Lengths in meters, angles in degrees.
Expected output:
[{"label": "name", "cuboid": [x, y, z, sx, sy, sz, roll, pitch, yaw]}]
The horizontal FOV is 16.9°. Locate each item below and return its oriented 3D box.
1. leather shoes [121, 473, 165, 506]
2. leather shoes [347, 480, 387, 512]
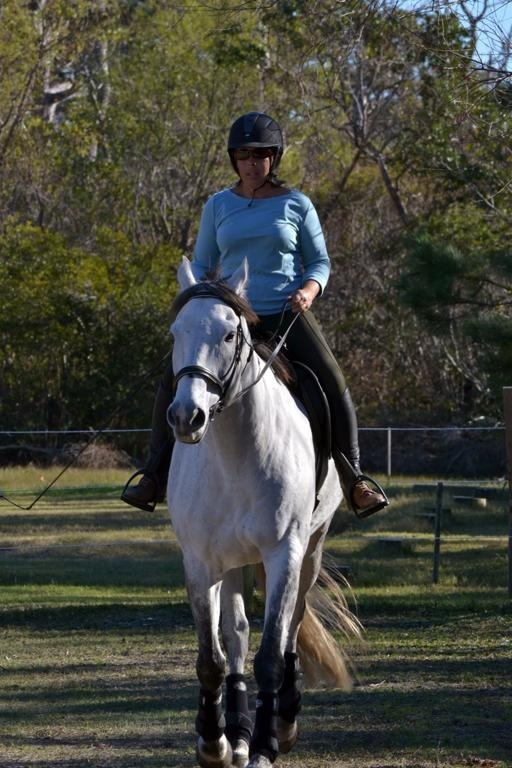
[{"label": "leather shoes", "cuboid": [-0.900, 0.919, 14.734, 0.230, 0.256, 0.515, 8, -11, 9]}, {"label": "leather shoes", "cuboid": [0.954, 0.974, 14.746, 0.158, 0.198, 0.443, -13, -10, -11]}]
